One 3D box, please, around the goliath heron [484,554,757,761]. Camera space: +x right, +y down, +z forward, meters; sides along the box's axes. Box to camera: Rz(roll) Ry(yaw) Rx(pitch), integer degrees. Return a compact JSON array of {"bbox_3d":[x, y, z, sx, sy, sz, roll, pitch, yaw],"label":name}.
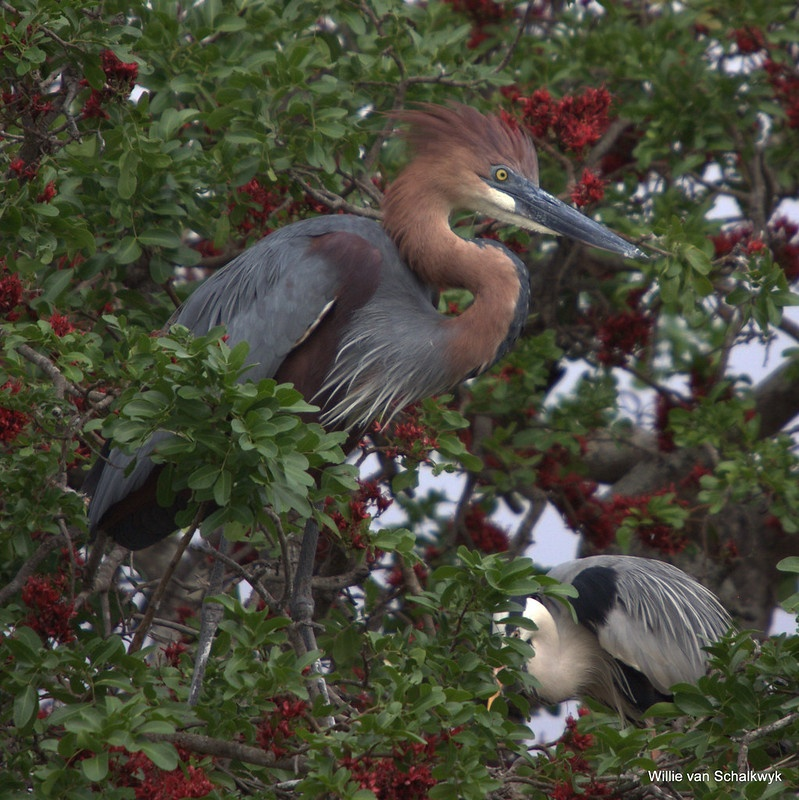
[{"bbox_3d":[0.869,1.145,7.920,1.367,0.877,0.750,2,-10,-43],"label":"goliath heron"}]
